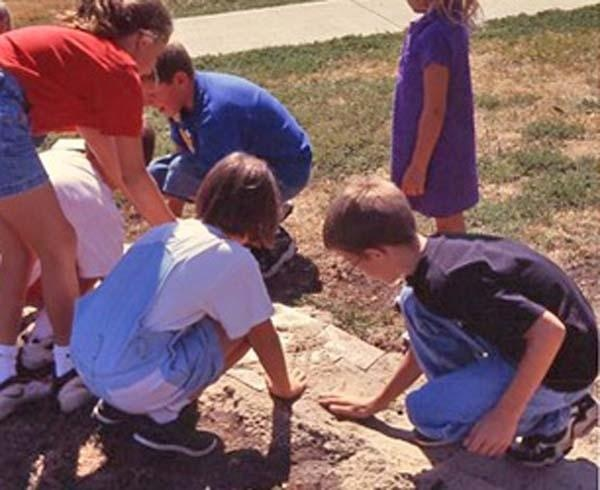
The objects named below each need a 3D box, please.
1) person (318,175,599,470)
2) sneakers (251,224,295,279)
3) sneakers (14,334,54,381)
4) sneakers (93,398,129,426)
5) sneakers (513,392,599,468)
[{"bbox_3d":[0.653,0.148,3.897,1.305,1.544,1.003,-9,22,18],"label":"person"},{"bbox_3d":[-0.163,0.065,4.954,0.225,0.113,0.338,30,73,27],"label":"sneakers"},{"bbox_3d":[-1.258,0.560,3.786,0.151,0.231,0.210,9,9,-18],"label":"sneakers"},{"bbox_3d":[-0.852,0.776,3.545,0.145,0.118,0.088,16,44,-6],"label":"sneakers"},{"bbox_3d":[1.095,0.804,3.525,0.365,0.289,0.106,-31,58,-6],"label":"sneakers"}]
